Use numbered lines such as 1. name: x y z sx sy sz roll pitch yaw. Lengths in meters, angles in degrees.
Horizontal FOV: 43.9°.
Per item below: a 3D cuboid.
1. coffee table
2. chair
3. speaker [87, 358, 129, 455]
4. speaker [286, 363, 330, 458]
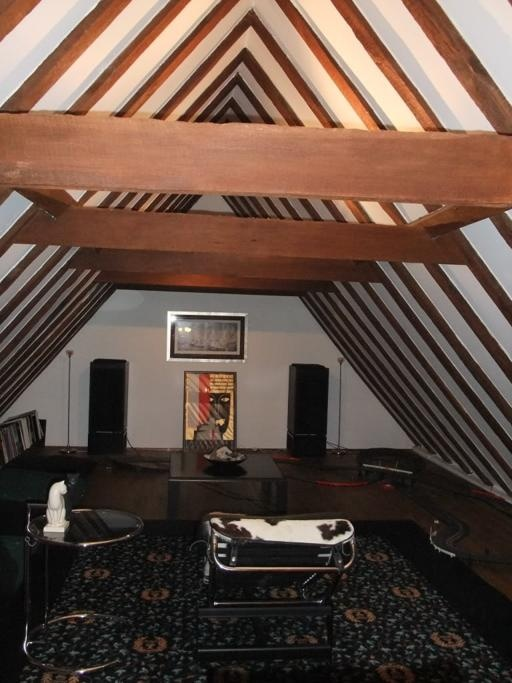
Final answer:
1. coffee table: -0.268 1.138 5.198 0.583 0.253 0.570 -1 -14 41
2. chair: 0.120 1.194 3.398 0.651 0.557 0.828 2 -1 -2
3. speaker: -1.597 0.721 6.845 0.399 1.022 0.233 2 3 -16
4. speaker: 0.611 0.796 7.149 0.397 1.041 0.131 2 3 -11
